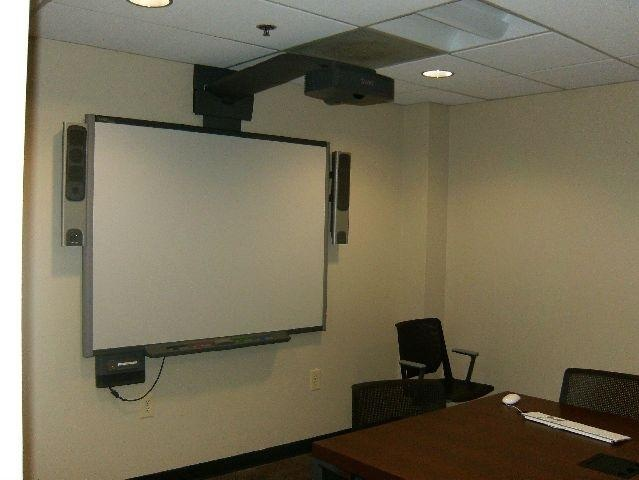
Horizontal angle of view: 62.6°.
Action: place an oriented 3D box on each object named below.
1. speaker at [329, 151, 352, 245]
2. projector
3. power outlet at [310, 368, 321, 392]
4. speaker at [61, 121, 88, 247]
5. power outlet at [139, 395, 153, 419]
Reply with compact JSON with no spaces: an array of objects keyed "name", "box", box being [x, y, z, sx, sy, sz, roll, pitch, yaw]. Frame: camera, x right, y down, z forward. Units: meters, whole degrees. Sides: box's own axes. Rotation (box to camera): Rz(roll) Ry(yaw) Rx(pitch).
[{"name":"speaker","box":[0.157,-0.320,3.989,0.156,0.701,0.067,-1,1,-11]},{"name":"projector","box":[0.158,-0.750,2.534,0.432,0.163,0.262,-1,2,-18]},{"name":"power outlet","box":[-0.031,1.067,3.997,0.104,0.172,0.013,-2,2,-43]},{"name":"speaker","box":[-1.338,-0.300,2.863,0.116,0.663,0.071,-2,2,-41]},{"name":"power outlet","box":[-1.060,1.033,3.218,0.080,0.126,0.007,-2,2,-43]}]
